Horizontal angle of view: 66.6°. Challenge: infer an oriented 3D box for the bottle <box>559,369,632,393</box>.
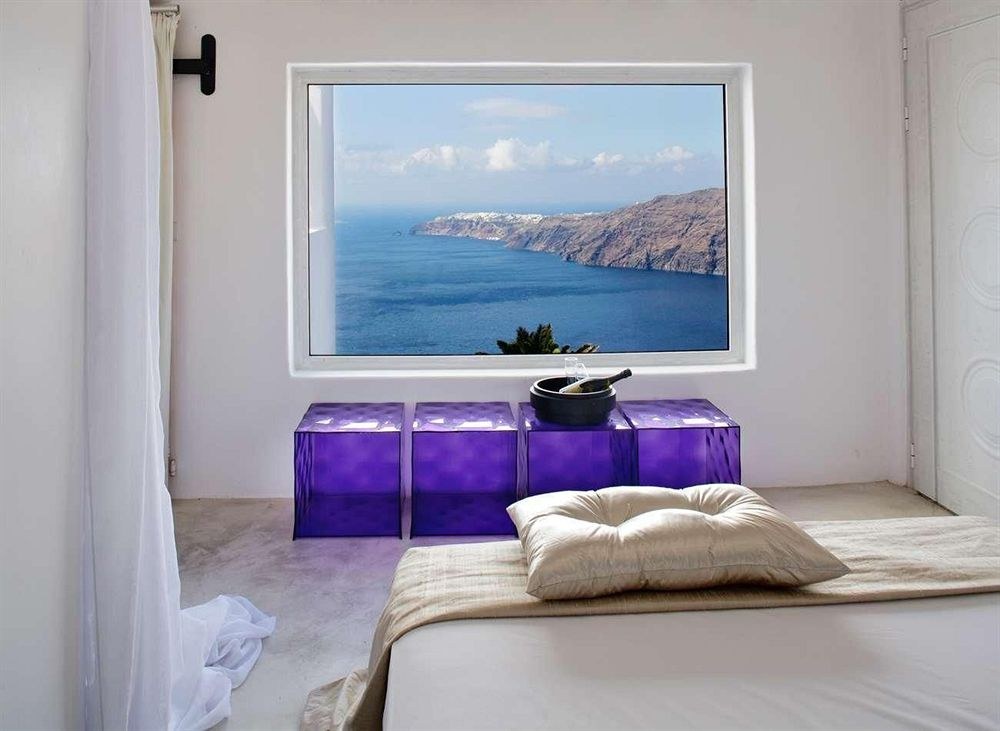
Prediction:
[{"bbox_3d":[0.430,0.087,3.531,0.224,0.049,0.151,-15,1,-6],"label":"bottle"}]
